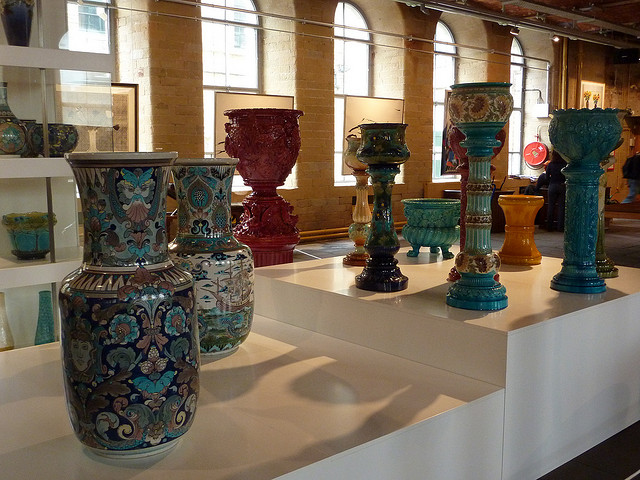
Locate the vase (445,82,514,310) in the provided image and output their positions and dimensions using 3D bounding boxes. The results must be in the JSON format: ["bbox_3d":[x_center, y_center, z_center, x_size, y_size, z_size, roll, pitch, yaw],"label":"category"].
[{"bbox_3d":[0.579,-0.160,1.767,0.240,0.805,0.212,3,9,20],"label":"vase"}]

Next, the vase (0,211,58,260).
[{"bbox_3d":[-1.420,-0.020,2.396,0.226,0.187,0.226,-1,2,10],"label":"vase"}]

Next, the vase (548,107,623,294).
[{"bbox_3d":[1.092,-0.166,2.034,0.291,0.742,0.240,-8,11,-43],"label":"vase"}]

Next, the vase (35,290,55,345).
[{"bbox_3d":[-1.375,0.381,2.441,0.094,0.282,0.082,-7,11,-39],"label":"vase"}]

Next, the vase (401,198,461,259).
[{"bbox_3d":[0.673,-0.032,2.859,0.304,0.259,0.328,1,-19,47],"label":"vase"}]

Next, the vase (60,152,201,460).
[{"bbox_3d":[-0.418,0.150,1.081,0.275,0.678,0.166,-3,9,-21],"label":"vase"}]

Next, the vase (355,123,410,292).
[{"bbox_3d":[0.268,-0.148,2.061,0.232,0.694,0.289,1,8,6],"label":"vase"}]

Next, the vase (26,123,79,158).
[{"bbox_3d":[-1.327,-0.500,2.438,0.177,0.181,0.190,-1,8,-7],"label":"vase"}]
